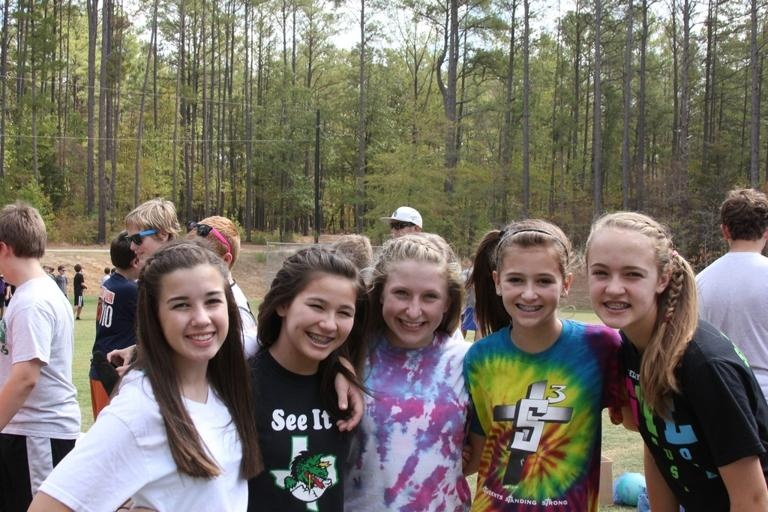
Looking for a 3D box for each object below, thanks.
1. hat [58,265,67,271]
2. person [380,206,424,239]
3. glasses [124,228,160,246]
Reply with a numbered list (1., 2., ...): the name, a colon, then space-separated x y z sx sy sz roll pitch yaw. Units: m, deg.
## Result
1. hat: -11.728 0.435 26.864 0.246 0.193 0.362 1 6 0
2. person: 0.368 -0.498 10.524 0.759 0.413 0.568 12 -3 -24
3. glasses: -2.326 -0.207 7.181 0.192 0.060 0.190 -21 2 -38
